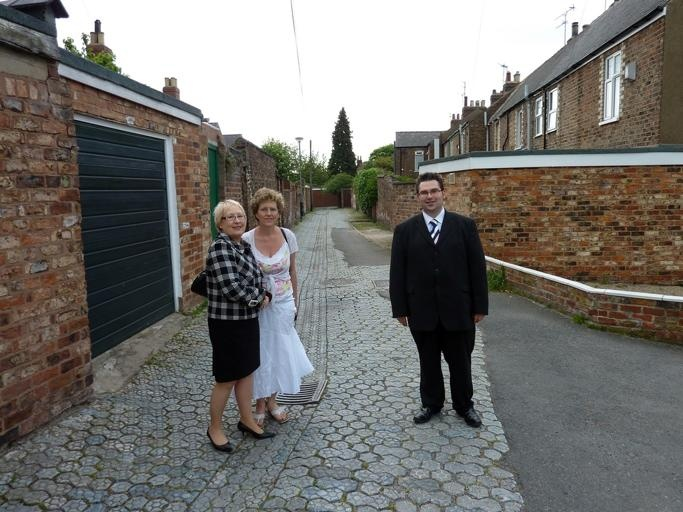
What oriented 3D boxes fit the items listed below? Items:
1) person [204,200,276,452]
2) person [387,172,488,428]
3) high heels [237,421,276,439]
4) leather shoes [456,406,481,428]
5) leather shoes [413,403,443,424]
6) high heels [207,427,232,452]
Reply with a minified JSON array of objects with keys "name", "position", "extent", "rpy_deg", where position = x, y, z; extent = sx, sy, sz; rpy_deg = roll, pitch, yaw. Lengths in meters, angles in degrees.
[{"name":"person","position":[-0.914,0.618,3.989],"extent":[0.557,2.179,0.500],"rpy_deg":[-5,8,-30]},{"name":"person","position":[0.896,0.423,4.325],"extent":[0.886,2.379,0.409],"rpy_deg":[0,7,8]},{"name":"high heels","position":[-0.756,1.632,4.219],"extent":[0.403,0.191,0.132],"rpy_deg":[1,-2,-1]},{"name":"leather shoes","position":[1.188,1.564,4.333],"extent":[0.090,0.106,0.253],"rpy_deg":[-3,0,-14]},{"name":"leather shoes","position":[0.811,1.555,4.441],"extent":[0.350,0.149,0.116],"rpy_deg":[2,-3,-43]},{"name":"high heels","position":[-1.069,1.690,3.995],"extent":[0.111,0.081,0.317],"rpy_deg":[-2,23,-43]}]
